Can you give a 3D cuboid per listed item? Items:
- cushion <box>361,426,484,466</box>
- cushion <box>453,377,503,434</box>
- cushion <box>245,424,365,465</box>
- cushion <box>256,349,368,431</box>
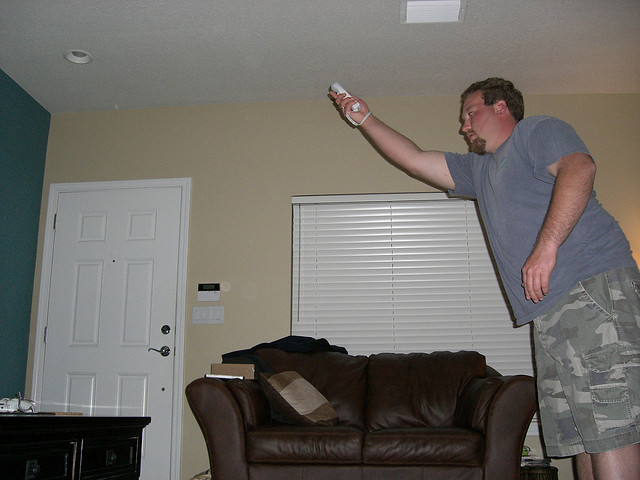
[{"bbox_3d":[0.620,1.260,3.432,0.735,0.210,0.139,-5,-14,7],"label":"cushion"},{"bbox_3d":[0.979,1.042,3.555,0.109,0.334,0.292,5,3,-2],"label":"cushion"},{"bbox_3d":[-0.093,1.248,3.441,0.722,0.234,0.068,-4,-14,1],"label":"cushion"},{"bbox_3d":[0.022,1.085,4.146,0.572,0.155,0.585,3,28,-3],"label":"cushion"}]
